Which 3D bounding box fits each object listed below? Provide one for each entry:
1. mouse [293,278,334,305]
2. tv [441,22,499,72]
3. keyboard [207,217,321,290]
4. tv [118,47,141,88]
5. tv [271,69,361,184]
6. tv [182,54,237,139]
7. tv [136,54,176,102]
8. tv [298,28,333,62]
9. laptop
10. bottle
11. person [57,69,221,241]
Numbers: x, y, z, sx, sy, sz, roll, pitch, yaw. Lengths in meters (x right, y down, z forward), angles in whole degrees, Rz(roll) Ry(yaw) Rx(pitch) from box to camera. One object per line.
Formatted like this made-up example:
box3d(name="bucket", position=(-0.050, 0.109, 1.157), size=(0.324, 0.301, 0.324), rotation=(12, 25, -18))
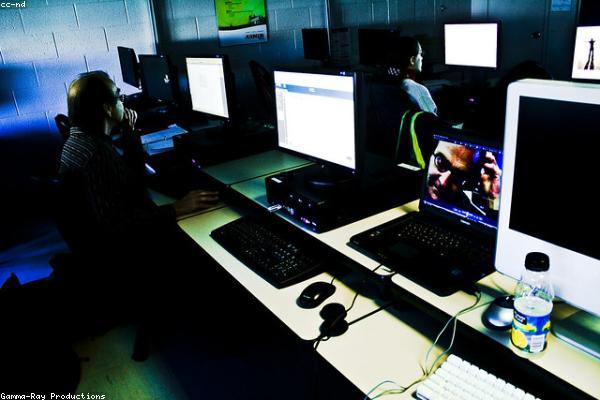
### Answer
box3d(name="mouse", position=(0.054, 0.368, 1.721), size=(0.071, 0.042, 0.140), rotation=(20, 34, 40))
box3d(name="tv", position=(1.938, -1.725, 4.913), size=(0.090, 0.575, 0.862), rotation=(-17, 25, -34))
box3d(name="keyboard", position=(-0.137, 0.220, 1.953), size=(0.239, 0.075, 0.554), rotation=(-23, 33, -27))
box3d(name="tv", position=(-1.661, -1.281, 4.218), size=(0.063, 0.427, 0.606), rotation=(-19, 25, -33))
box3d(name="tv", position=(0.085, -0.391, 2.024), size=(0.096, 0.441, 0.661), rotation=(-16, 24, -30))
box3d(name="tv", position=(-0.612, -0.672, 2.932), size=(0.103, 0.462, 0.749), rotation=(-21, 28, -30))
box3d(name="tv", position=(-1.181, -1.039, 3.760), size=(0.136, 0.390, 0.672), rotation=(-17, 24, -33))
box3d(name="tv", position=(0.329, -1.859, 5.284), size=(0.594, 0.400, 0.059), rotation=(-1, 5, 2))
box3d(name="laptop", position=(0.531, -0.001, 1.663), size=(0.621, 0.378, 0.546), rotation=(-20, 25, -16))
box3d(name="bottle", position=(0.730, 0.312, 1.354), size=(0.114, 0.300, 0.183), rotation=(10, 29, 30))
box3d(name="person", position=(-0.927, -0.299, 2.564), size=(0.769, 0.818, 0.941), rotation=(3, 15, 19))
